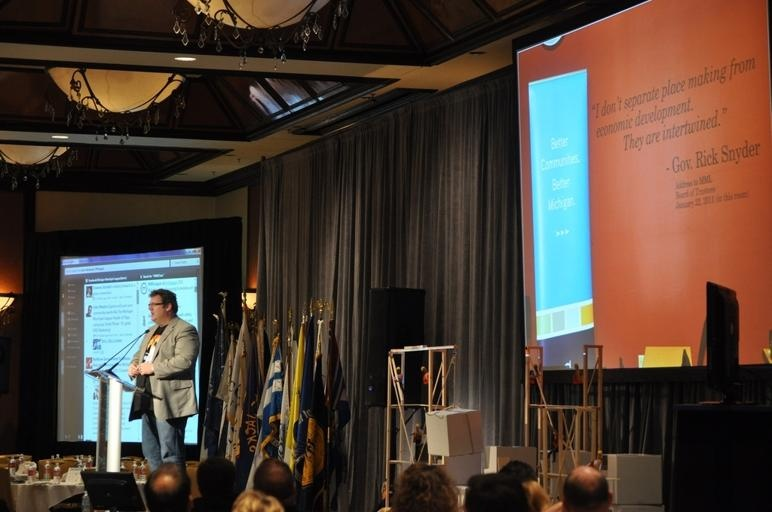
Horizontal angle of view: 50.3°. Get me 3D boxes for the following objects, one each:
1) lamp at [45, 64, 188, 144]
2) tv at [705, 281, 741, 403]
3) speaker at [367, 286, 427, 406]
[{"bbox_3d":[-3.104,-1.746,9.088,1.206,0.677,1.293,-2,-6,23],"label":"lamp"},{"bbox_3d":[2.290,0.607,5.602,0.217,0.789,0.470,-5,-14,24],"label":"tv"},{"bbox_3d":[0.101,0.952,8.689,0.607,1.242,0.316,1,-12,-1],"label":"speaker"}]
